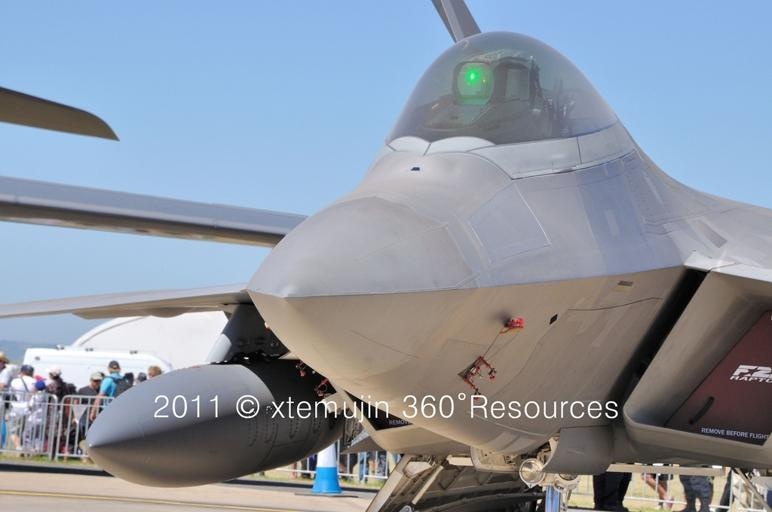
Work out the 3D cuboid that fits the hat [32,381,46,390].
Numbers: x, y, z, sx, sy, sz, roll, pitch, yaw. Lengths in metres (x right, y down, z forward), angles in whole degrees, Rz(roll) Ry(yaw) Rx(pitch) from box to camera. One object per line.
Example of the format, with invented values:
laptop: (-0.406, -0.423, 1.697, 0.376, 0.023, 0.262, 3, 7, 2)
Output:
hat: (-6.680, 2.510, 14.008, 0.096, 0.158, 0.213, -45, 3, 15)
